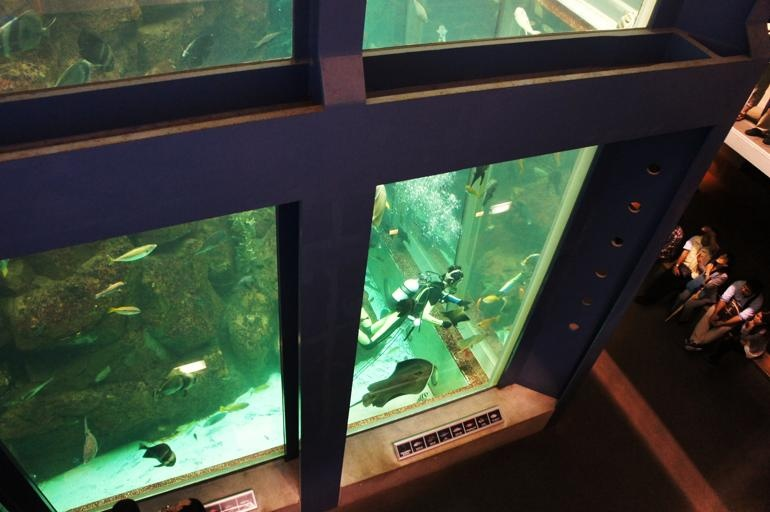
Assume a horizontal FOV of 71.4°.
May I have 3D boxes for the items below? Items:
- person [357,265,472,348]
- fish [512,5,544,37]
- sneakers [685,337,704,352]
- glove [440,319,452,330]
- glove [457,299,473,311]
[{"bbox_3d":[0.251,0.456,5.079,0.629,0.780,0.257,41,18,-21],"label":"person"},{"bbox_3d":[0.989,-1.641,3.732,0.216,0.193,0.047,-8,42,-8],"label":"fish"},{"bbox_3d":[4.404,1.281,7.630,0.289,0.208,0.104,0,49,18],"label":"sneakers"},{"bbox_3d":[0.638,0.710,5.532,0.104,0.097,0.025,22,44,-41],"label":"glove"},{"bbox_3d":[0.814,0.498,5.481,0.154,0.110,0.063,26,11,32],"label":"glove"}]
